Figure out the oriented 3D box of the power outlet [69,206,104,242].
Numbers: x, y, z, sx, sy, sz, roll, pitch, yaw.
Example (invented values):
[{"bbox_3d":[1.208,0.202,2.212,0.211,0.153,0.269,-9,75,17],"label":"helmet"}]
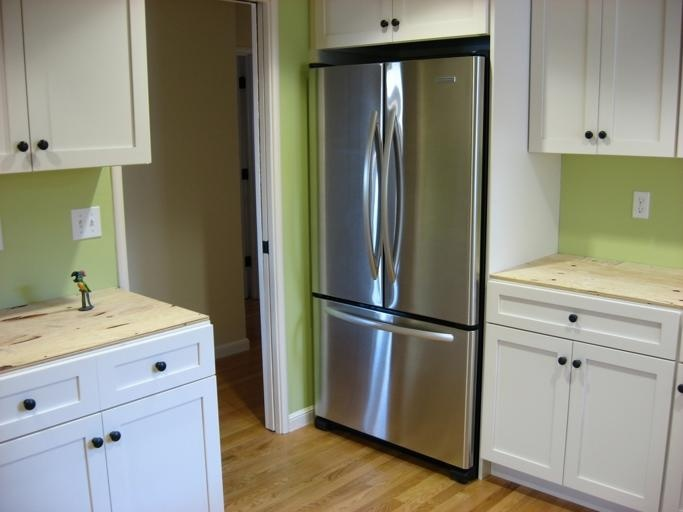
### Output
[{"bbox_3d":[-1.178,-0.149,2.635,0.130,0.147,0.014,-7,-14,-14],"label":"power outlet"}]
